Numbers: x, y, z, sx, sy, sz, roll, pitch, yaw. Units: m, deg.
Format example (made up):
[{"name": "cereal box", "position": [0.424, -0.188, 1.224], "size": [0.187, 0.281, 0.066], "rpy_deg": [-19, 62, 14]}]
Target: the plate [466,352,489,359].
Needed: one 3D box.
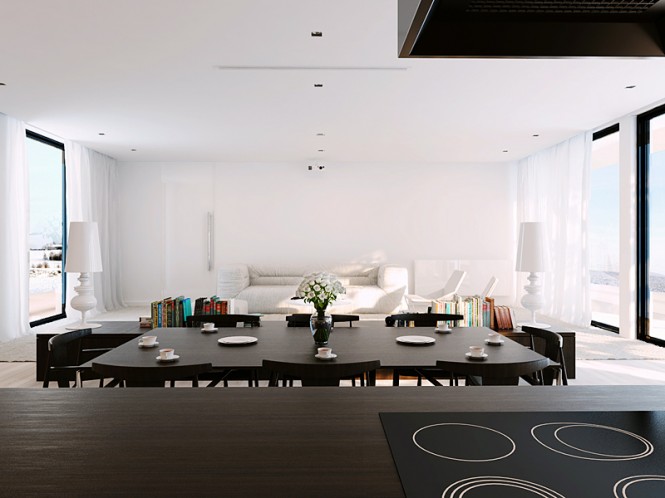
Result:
[{"name": "plate", "position": [0.764, 0.560, 2.801], "size": [0.115, 0.035, 0.100], "rpy_deg": [-1, 0, 14]}]

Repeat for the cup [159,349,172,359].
[{"name": "cup", "position": [-0.861, 0.543, 2.728], "size": [0.050, 0.026, 0.060], "rpy_deg": [-8, -11, 43]}]

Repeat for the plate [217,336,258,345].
[{"name": "plate", "position": [-0.564, 0.543, 3.161], "size": [0.230, 0.032, 0.259], "rpy_deg": [-1, 0, -6]}]

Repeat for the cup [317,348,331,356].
[{"name": "cup", "position": [-0.050, 0.533, 2.743], "size": [0.055, 0.025, 0.048], "rpy_deg": [2, -5, 9]}]

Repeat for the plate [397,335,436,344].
[{"name": "plate", "position": [0.496, 0.545, 3.199], "size": [0.239, 0.019, 0.256], "rpy_deg": [-1, 0, -2]}]

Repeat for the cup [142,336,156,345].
[{"name": "cup", "position": [-1.062, 0.529, 3.050], "size": [0.069, 0.026, 0.043], "rpy_deg": [0, -2, -9]}]

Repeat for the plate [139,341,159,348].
[{"name": "plate", "position": [-1.052, 0.546, 3.022], "size": [0.104, 0.023, 0.072], "rpy_deg": [-1, 0, -22]}]

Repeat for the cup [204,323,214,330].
[{"name": "cup", "position": [-0.807, 0.502, 3.427], "size": [0.054, 0.028, 0.053], "rpy_deg": [0, -8, 0]}]
